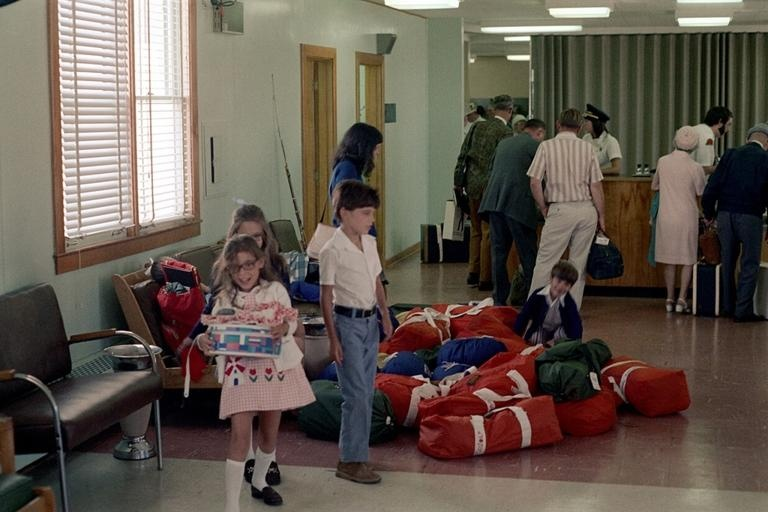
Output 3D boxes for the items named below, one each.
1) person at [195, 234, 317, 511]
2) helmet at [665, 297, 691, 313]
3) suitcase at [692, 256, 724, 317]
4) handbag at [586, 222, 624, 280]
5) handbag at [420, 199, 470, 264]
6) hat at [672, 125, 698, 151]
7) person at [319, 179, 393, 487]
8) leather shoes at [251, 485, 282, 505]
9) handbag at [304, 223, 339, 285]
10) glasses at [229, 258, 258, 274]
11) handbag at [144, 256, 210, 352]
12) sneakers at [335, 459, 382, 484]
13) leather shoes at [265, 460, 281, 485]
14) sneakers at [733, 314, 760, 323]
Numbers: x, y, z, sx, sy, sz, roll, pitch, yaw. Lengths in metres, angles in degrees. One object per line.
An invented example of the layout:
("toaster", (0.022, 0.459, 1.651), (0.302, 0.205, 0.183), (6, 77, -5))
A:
("person", (-0.741, 0.673, 3.814), (0.596, 1.562, 0.529), (-8, 14, -33))
("helmet", (3.407, 0.577, 7.714), (0.136, 0.147, 0.345), (0, -6, 10))
("suitcase", (3.675, 0.390, 7.542), (0.305, 0.548, 0.178), (4, 12, 22))
("handbag", (2.343, 0.004, 7.062), (0.350, 0.424, 0.255), (3, 12, 16))
("handbag", (0.944, -0.282, 10.387), (0.847, 1.142, 1.159), (0, 1, 6))
("hat", (3.464, -1.356, 7.669), (0.241, 0.313, 0.293), (5, 1, 14))
("person", (-0.159, 0.468, 4.089), (0.429, 1.840, 0.359), (-2, 12, -4))
("leather shoes", (-0.684, 1.394, 3.941), (0.196, 0.081, 0.083), (1, 5, 38))
("handbag", (-0.586, -0.021, 5.791), (0.166, 0.527, 0.402), (15, 8, 7))
("glasses", (-0.788, 0.054, 3.752), (0.139, 0.063, 0.024), (-2, 12, -7))
("handbag", (-1.512, 0.282, 5.197), (0.604, 0.753, 0.285), (7, 15, 20))
("sneakers", (-0.157, 1.340, 4.218), (0.281, 0.213, 0.120), (0, 1, 7))
("leather shoes", (-0.681, 1.352, 4.125), (0.063, 0.073, 0.173), (0, -9, -3))
("sneakers", (3.986, 0.687, 7.345), (0.296, 0.128, 0.100), (-3, 4, -11))
